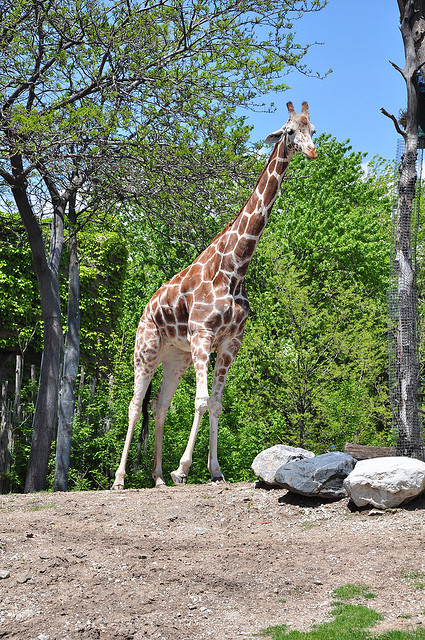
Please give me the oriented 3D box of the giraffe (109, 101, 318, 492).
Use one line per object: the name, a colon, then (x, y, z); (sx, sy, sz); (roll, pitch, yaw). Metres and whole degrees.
giraffe: (-0.108, -0.157, 10.275); (2.365, 4.478, 1.329); (5, 12, 37)
